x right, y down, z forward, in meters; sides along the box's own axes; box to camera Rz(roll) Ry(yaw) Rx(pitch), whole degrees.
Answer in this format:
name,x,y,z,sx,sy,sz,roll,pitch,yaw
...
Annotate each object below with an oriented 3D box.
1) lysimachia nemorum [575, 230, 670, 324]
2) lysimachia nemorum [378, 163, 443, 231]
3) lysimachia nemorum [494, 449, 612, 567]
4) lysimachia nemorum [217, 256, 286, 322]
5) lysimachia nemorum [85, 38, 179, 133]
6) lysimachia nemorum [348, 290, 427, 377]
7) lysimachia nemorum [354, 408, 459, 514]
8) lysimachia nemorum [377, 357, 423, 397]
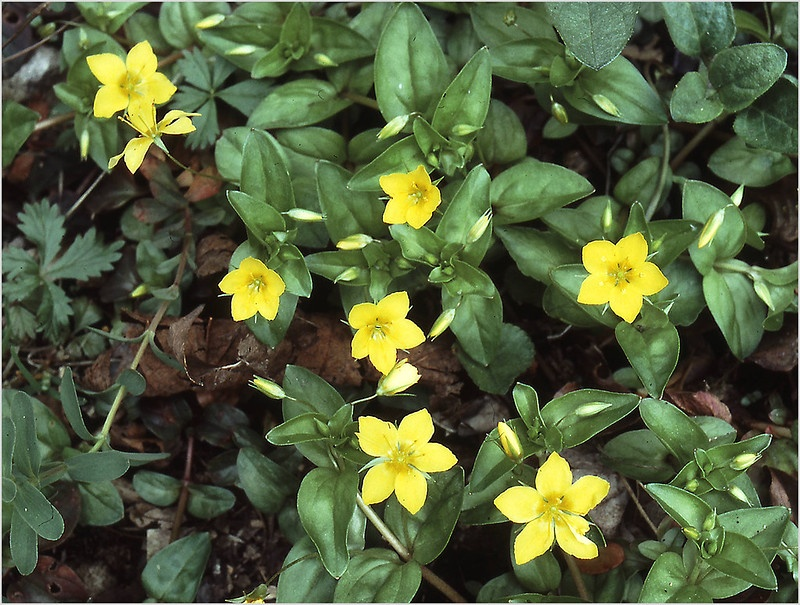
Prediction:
name,x,y,z,sx,sy,sz,roll,pitch,yaw
lysimachia nemorum,1.015,-0.100,3.246,0.395,0.139,0.433,9,95,8
lysimachia nemorum,0.051,-0.473,3.310,0.254,0.178,0.241,-7,63,7
lysimachia nemorum,0.647,0.903,3.139,0.487,0.109,0.522,4,41,32
lysimachia nemorum,-0.651,-0.055,3.274,0.258,0.188,0.220,-20,62,0
lysimachia nemorum,-1.285,-1.038,3.479,0.399,0.400,0.146,-12,80,3
lysimachia nemorum,-0.059,0.172,3.313,0.321,0.362,0.279,-26,62,-3
lysimachia nemorum,0.031,0.678,3.144,0.411,0.232,0.379,-7,63,7
lysimachia nemorum,0.003,0.342,3.311,0.203,0.088,0.128,-40,85,-2
